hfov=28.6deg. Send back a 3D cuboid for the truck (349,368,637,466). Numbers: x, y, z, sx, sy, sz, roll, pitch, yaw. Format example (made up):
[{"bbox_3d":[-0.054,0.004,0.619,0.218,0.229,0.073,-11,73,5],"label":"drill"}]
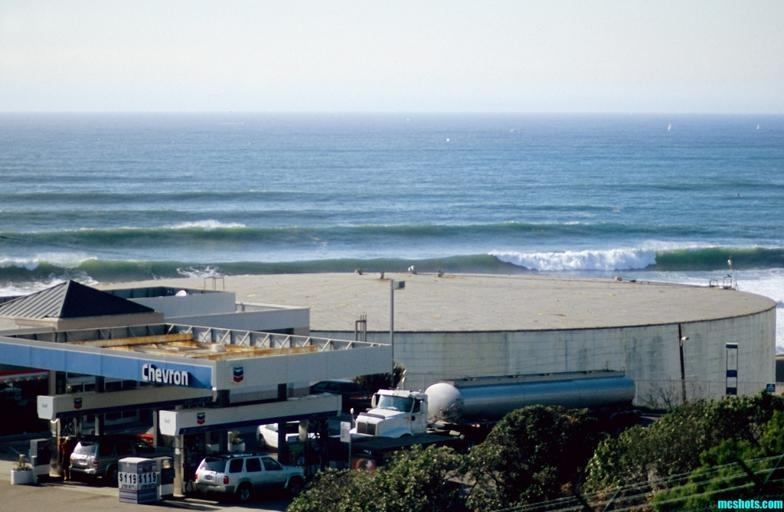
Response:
[{"bbox_3d":[6.438,9.617,93.924,22.716,4.441,5.078,0,0,-27],"label":"truck"}]
